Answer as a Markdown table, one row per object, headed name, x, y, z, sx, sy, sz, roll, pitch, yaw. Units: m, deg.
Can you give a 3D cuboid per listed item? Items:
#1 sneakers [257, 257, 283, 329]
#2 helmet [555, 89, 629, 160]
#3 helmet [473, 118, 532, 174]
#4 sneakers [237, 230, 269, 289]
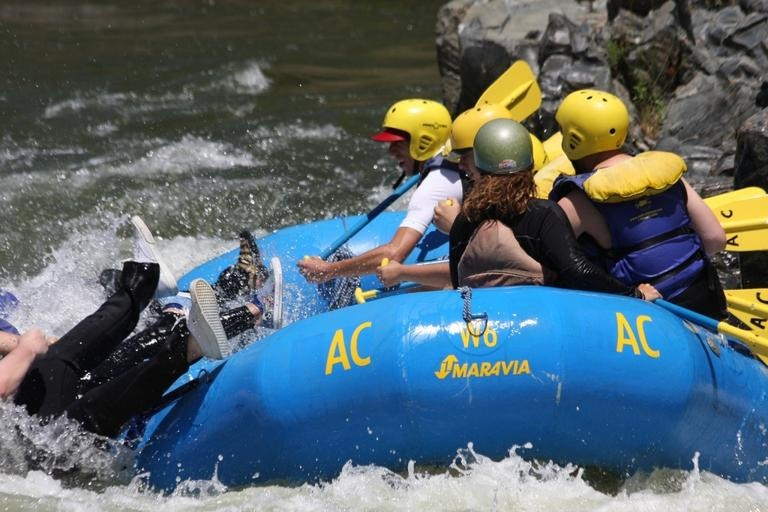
| name | x | y | z | sx | sy | sz | roll | pitch | yaw |
| --- | --- | --- | --- | --- | --- | --- | --- | --- | --- |
| sneakers | -1.017 | 0.338 | 9.353 | 0.147 | 0.299 | 0.580 | 6 | 71 | -26 |
| helmet | 1.715 | -1.114 | 8.681 | 0.621 | 0.489 | 0.503 | 21 | 31 | 36 |
| helmet | 0.977 | -0.921 | 8.467 | 0.398 | 0.384 | 0.462 | -8 | 26 | -8 |
| sneakers | -1.265 | 0.079 | 9.812 | 0.207 | 0.630 | 0.247 | -19 | 0 | -8 |
